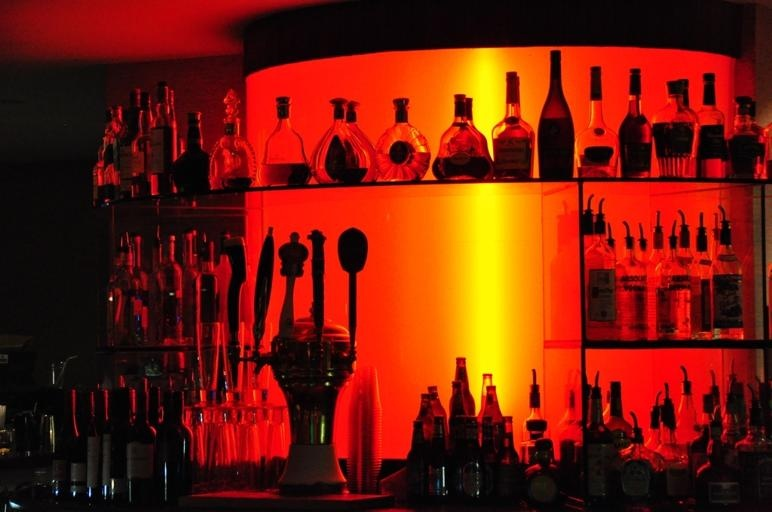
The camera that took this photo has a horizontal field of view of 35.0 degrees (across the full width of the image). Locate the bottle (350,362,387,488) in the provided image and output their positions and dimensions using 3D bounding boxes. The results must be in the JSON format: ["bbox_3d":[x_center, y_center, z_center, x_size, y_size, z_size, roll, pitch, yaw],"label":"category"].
[{"bbox_3d":[-0.084,0.670,4.720,0.121,0.478,0.076,-1,-8,-4],"label":"bottle"}]
